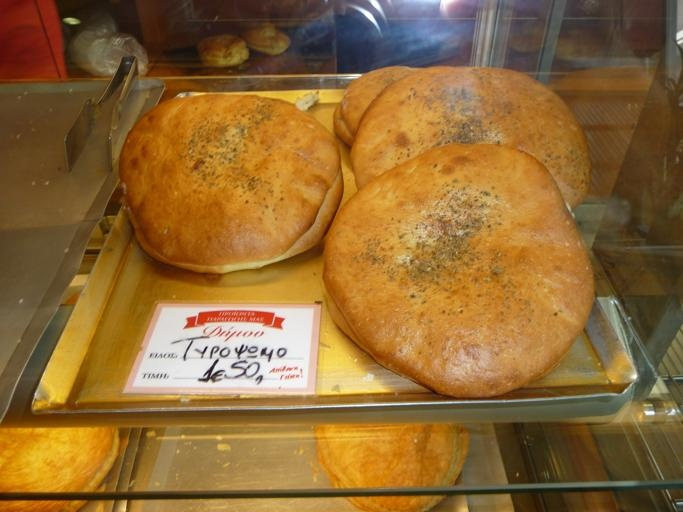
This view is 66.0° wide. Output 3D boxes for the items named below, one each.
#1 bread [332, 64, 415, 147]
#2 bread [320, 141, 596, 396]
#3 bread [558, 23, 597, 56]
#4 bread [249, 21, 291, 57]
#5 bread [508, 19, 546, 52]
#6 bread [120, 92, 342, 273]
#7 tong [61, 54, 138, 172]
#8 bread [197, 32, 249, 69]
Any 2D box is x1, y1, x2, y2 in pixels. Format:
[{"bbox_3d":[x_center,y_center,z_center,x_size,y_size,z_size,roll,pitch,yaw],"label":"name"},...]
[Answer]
[{"bbox_3d":[0.059,-0.323,1.281,0.210,0.108,0.164,-31,44,7],"label":"bread"},{"bbox_3d":[0.187,0.013,0.865,0.402,0.225,0.366,-14,42,-12],"label":"bread"},{"bbox_3d":[0.531,-0.485,1.184,0.071,0.068,0.017,7,11,42],"label":"bread"},{"bbox_3d":[-0.278,-0.816,1.960,0.116,0.065,0.093,9,77,-6],"label":"bread"},{"bbox_3d":[0.455,-0.538,1.288,0.018,0.075,0.075,-8,16,-43],"label":"bread"},{"bbox_3d":[-0.192,-0.093,1.047,0.356,0.111,0.348,-28,62,-15],"label":"bread"},{"bbox_3d":[-0.523,-0.324,1.182,0.071,0.074,0.314,10,56,-4],"label":"tong"},{"bbox_3d":[-0.458,-0.801,2.020,0.216,0.082,0.234,-3,39,7],"label":"bread"}]
